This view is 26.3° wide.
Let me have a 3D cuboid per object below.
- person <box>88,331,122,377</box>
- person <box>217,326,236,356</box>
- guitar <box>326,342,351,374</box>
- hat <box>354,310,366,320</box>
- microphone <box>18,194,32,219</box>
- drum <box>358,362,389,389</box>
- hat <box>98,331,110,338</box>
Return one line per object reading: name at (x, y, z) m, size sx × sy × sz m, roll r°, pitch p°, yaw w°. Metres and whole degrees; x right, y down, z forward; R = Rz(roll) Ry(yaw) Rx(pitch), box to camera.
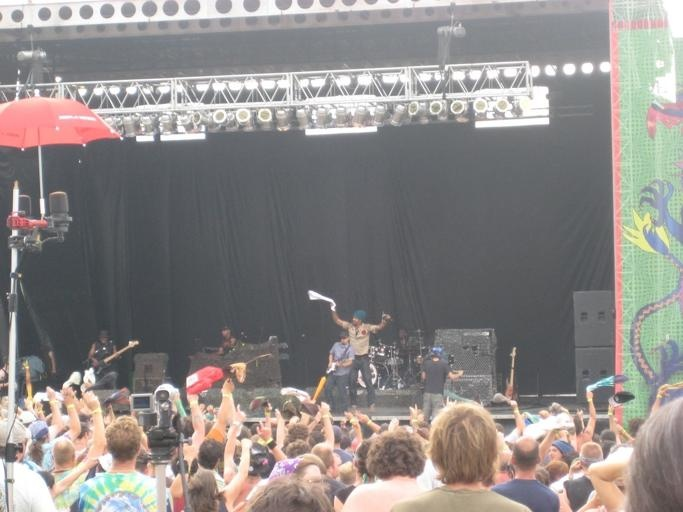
person at (-4.340, 1.850, 26.815) m, size 0.912 × 0.373 × 0.129 m, roll -36°, pitch -35°, yaw 4°
person at (-2.110, 1.575, 27.127) m, size 0.355 × 0.435 × 0.948 m, roll -4°, pitch -2°, yaw -4°
guitar at (-0.030, 1.778, 25.155) m, size 0.372 × 0.499 × 0.157 m, roll 1°, pitch -26°, yaw 23°
hat at (0.329, 1.059, 25.926) m, size 0.198 × 0.150 × 0.145 m, roll 7°, pitch -3°, yaw -19°
microphone at (-3.835, -0.602, 17.804) m, size 0.057 × 0.213 × 0.166 m, roll -5°, pitch -2°, yaw 33°
drum at (0.557, 2.178, 25.840) m, size 0.449 × 0.427 × 0.463 m, roll -6°, pitch 30°, yaw -3°
hat at (-4.363, 1.479, 26.896) m, size 0.162 × 0.148 × 0.165 m, roll 0°, pitch -12°, yaw -4°
